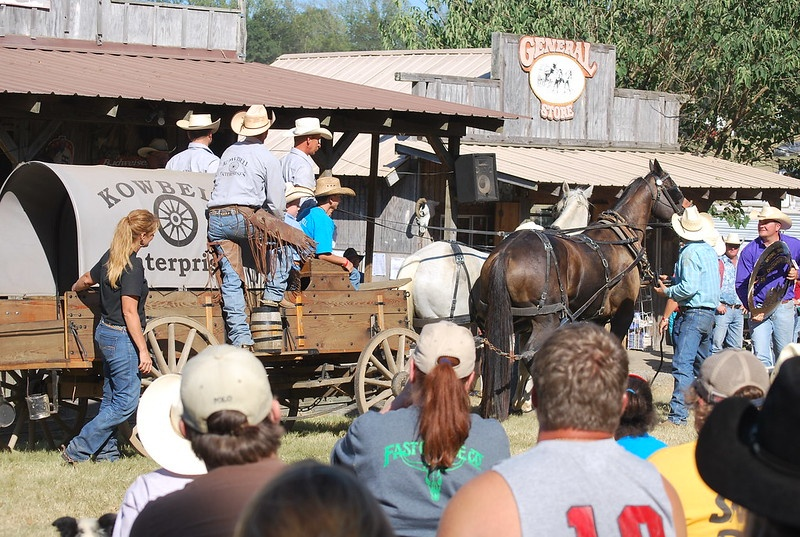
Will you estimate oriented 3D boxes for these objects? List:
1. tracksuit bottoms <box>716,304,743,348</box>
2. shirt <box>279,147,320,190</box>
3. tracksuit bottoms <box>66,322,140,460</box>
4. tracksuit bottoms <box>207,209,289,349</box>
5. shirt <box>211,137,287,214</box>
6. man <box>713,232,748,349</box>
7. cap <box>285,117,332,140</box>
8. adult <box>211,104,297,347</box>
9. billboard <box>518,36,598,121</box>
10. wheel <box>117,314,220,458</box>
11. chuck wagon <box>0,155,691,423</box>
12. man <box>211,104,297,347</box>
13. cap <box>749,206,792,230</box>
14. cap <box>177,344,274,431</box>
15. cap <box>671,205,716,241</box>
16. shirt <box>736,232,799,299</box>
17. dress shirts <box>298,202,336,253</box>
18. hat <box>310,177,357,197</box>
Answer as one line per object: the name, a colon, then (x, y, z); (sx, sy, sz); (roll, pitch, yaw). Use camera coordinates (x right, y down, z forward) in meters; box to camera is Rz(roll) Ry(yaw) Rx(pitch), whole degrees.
tracksuit bottoms: (4.945, 0.953, 16.335); (0.402, 0.923, 0.298); (2, -33, 22)
shirt: (-1.258, -1.208, 13.111); (0.322, 0.431, 0.697); (2, 14, -33)
tracksuit bottoms: (-3.189, 1.287, 11.775); (0.634, 1.570, 0.547); (0, 10, -39)
tracksuit bottoms: (-1.680, 0.041, 12.073); (0.712, 1.476, 0.611); (-6, 10, -37)
shirt: (-1.644, -1.043, 12.190); (0.846, 0.935, 0.674); (7, 9, 0)
man: (4.921, 0.562, 16.363); (0.611, 2.187, 0.721); (1, 2, 21)
cap: (-1.161, -1.691, 13.245); (0.306, 0.155, 0.351); (-4, 4, -34)
adult: (-1.686, -0.486, 12.267); (1.059, 2.600, 0.820); (5, -8, -23)
billboard: (3.333, -4.007, 23.318); (1.916, 1.707, 0.155); (0, 1, -23)
wheel: (-2.108, 0.977, 9.830); (0.370, 1.484, 1.451); (-2, -5, 43)
chuck wagon: (0.043, -0.254, 14.162); (10.123, 3.345, 2.939); (-5, 5, -32)
man: (-1.673, -0.457, 12.281); (1.148, 2.649, 0.848); (7, -11, -32)
cap: (5.287, -0.738, 15.366); (0.527, 0.205, 0.444); (20, -9, -34)
cap: (-1.308, 0.880, 8.003); (0.680, 0.537, 0.932); (-8, 4, -7)
cap: (3.829, -0.569, 14.452); (0.436, 0.530, 0.203); (-7, -41, -7)
shirt: (5.041, -0.031, 15.252); (0.882, 0.909, 0.258); (1, -3, -12)
dress shirts: (-1.036, -0.504, 13.178); (0.284, 0.434, 0.531); (-13, 19, -36)
hat: (-0.889, -1.055, 14.123); (0.372, 0.160, 0.325); (1, -2, -10)
